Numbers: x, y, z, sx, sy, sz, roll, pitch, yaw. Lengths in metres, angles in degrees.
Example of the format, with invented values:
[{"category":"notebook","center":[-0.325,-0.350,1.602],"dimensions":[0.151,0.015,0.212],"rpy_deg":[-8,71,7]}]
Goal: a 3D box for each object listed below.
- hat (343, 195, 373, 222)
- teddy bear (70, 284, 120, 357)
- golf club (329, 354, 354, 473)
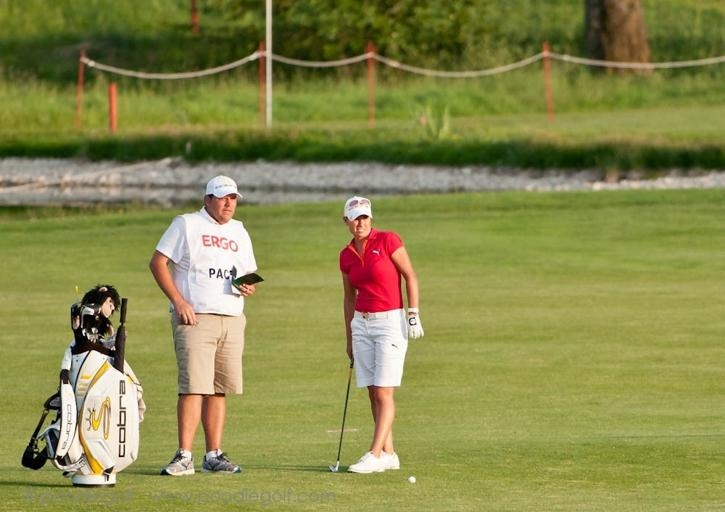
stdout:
[{"category":"hat","center":[-0.119,-0.747,36.984],"dimensions":[0.393,0.340,0.231],"rpy_deg":[-1,8,6]},{"category":"teddy bear","center":[-4.047,0.928,36.408],"dimensions":[0.545,1.141,0.507],"rpy_deg":[-6,11,-22]},{"category":"golf club","center":[-0.250,2.334,37.418],"dimensions":[0.317,2.015,0.281],"rpy_deg":[8,1,-13]}]
